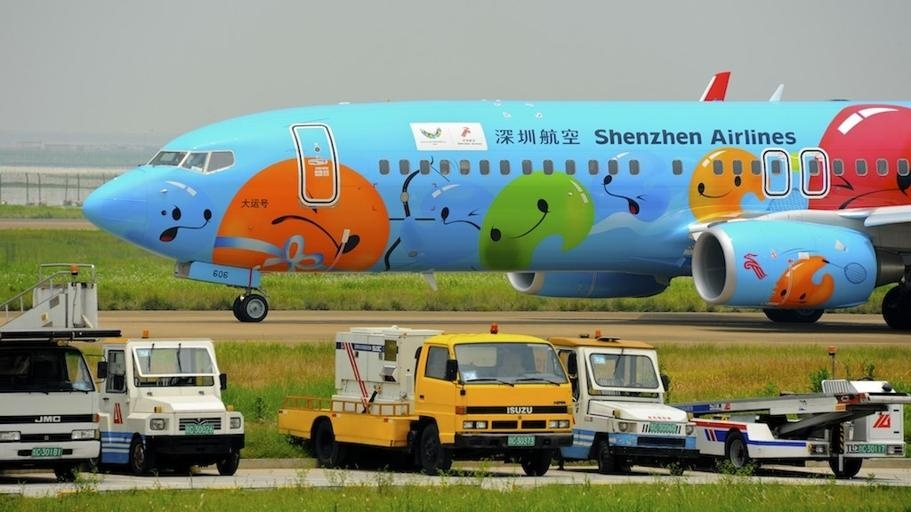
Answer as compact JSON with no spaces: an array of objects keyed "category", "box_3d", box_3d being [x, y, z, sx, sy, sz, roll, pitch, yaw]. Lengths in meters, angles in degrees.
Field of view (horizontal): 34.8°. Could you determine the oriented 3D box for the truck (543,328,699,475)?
[{"category":"truck","box_3d":[4.877,4.243,42.486,5.221,3.512,3.994,0,-2,-8]}]
